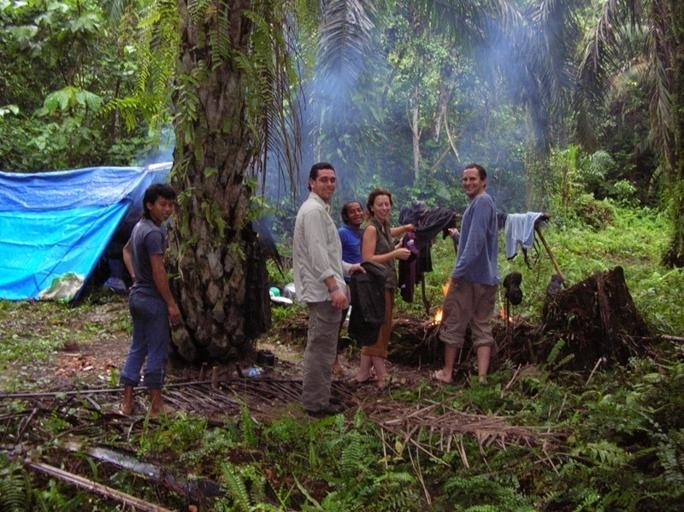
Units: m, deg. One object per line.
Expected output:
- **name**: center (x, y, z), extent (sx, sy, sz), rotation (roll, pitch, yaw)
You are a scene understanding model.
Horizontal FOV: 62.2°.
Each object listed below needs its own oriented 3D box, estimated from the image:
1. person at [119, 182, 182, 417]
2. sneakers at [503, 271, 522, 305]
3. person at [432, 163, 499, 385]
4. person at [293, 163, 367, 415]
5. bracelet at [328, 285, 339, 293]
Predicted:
- **person**: center (-1.815, 0.389, 5.370), extent (0.508, 2.164, 0.474), rotation (3, 3, -8)
- **sneakers**: center (1.887, 0.362, 6.310), extent (0.133, 0.364, 0.216), rotation (0, 7, 41)
- **person**: center (1.400, 0.188, 6.203), extent (0.634, 2.405, 0.644), rotation (5, 3, 16)
- **person**: center (-0.181, 0.312, 5.487), extent (0.656, 2.435, 0.412), rotation (7, 4, 39)
- **bracelet**: center (-0.089, 0.305, 5.260), extent (0.114, 0.070, 0.061), rotation (6, 4, 23)
